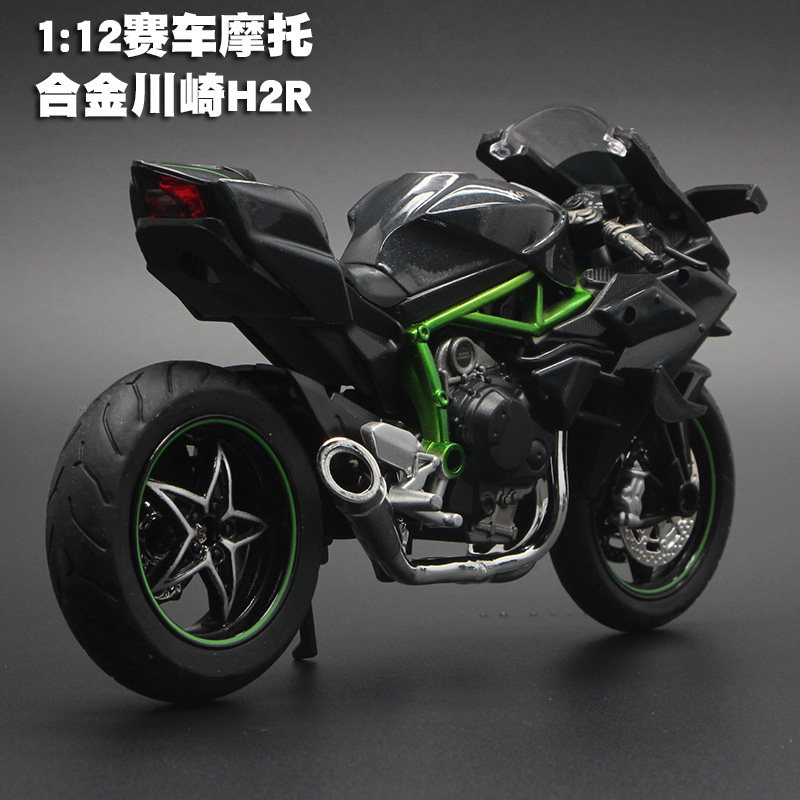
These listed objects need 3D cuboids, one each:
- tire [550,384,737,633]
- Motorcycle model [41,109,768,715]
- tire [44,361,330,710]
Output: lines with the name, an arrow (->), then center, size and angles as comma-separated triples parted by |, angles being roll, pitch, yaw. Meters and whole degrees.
tire -> 0.653, 0.286, 2.199 | 0.607, 0.688, 0.172 | -8, 5, -31
Motorcycle model -> 0.154, -0.027, 1.930 | 1.911, 1.107, 0.727 | -8, 17, -39
tire -> -0.370, 0.237, 1.458 | 0.204, 0.729, 0.647 | -6, -6, 41
